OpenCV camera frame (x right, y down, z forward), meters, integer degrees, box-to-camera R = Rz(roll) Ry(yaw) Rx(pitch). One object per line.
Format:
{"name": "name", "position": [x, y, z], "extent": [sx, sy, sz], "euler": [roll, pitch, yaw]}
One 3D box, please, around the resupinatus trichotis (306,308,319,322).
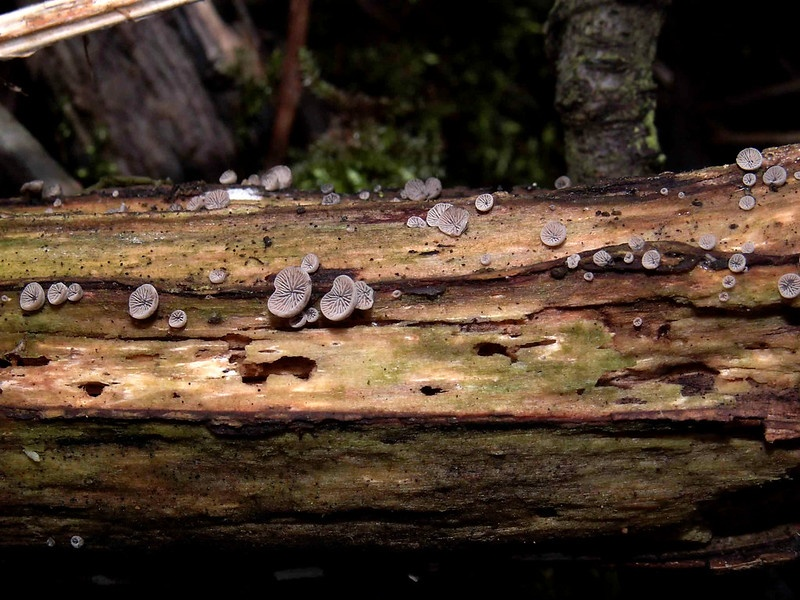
{"name": "resupinatus trichotis", "position": [-0.748, 0.129, 9.629], "extent": [0.125, 0.131, 0.061], "euler": [-11, 8, -5]}

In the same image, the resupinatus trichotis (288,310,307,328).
{"name": "resupinatus trichotis", "position": [-0.867, 0.162, 9.609], "extent": [0.172, 0.135, 0.054], "euler": [-24, -46, 16]}

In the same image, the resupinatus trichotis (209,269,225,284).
{"name": "resupinatus trichotis", "position": [-1.582, -0.200, 9.757], "extent": [0.142, 0.124, 0.087], "euler": [-9, 8, 6]}
